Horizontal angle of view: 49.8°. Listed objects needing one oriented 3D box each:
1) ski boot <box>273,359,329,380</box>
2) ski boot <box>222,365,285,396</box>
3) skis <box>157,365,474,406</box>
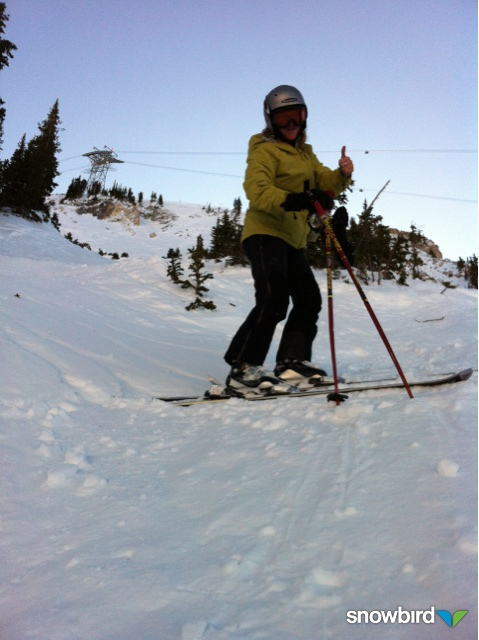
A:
[{"bbox_3d":[0.393,0.319,3.262,0.364,0.134,0.121,0,-4,9],"label":"ski boot"},{"bbox_3d":[0.032,0.357,3.019,0.404,0.154,0.144,-11,-16,30],"label":"ski boot"},{"bbox_3d":[0.386,0.367,2.858,1.214,0.059,0.161,-7,-3,16],"label":"skis"}]
